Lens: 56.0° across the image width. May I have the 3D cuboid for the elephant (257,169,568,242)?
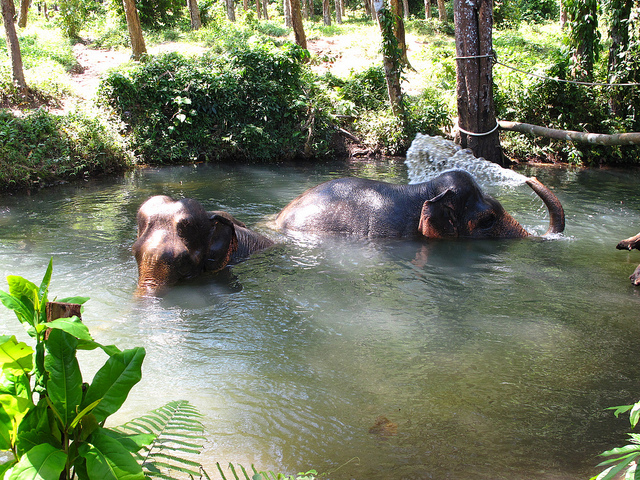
[{"bbox_3d":[1.621,-0.268,9.230,3.829,1.604,1.514,-1,19,6],"label":"elephant"}]

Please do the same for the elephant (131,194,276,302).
[{"bbox_3d":[-1.526,0.225,7.325,1.196,1.383,2.514,4,2,16],"label":"elephant"}]
